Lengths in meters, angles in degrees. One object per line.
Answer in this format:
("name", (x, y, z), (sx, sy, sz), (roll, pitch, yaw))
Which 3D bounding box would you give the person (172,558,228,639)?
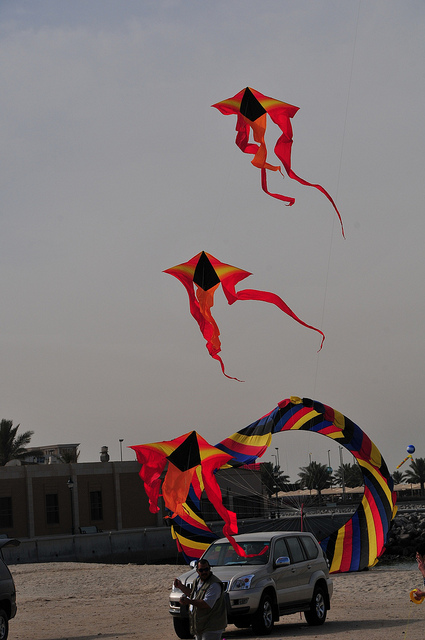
("person", (-0.096, 2.812, 8.940), (0.403, 0.713, 0.544), (-4, -4, 2))

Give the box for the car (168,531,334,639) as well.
("car", (0.659, 4.239, 14.716), (1.784, 1.506, 3.137), (-8, -14, 29))

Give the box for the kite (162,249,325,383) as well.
("kite", (0.079, -0.359, 17.062), (1.276, 2.158, 2.534), (-2, -4, -17))

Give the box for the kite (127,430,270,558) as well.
("kite", (-0.476, 3.000, 17.152), (3.492, 1.669, 1.831), (2, -5, 45))
